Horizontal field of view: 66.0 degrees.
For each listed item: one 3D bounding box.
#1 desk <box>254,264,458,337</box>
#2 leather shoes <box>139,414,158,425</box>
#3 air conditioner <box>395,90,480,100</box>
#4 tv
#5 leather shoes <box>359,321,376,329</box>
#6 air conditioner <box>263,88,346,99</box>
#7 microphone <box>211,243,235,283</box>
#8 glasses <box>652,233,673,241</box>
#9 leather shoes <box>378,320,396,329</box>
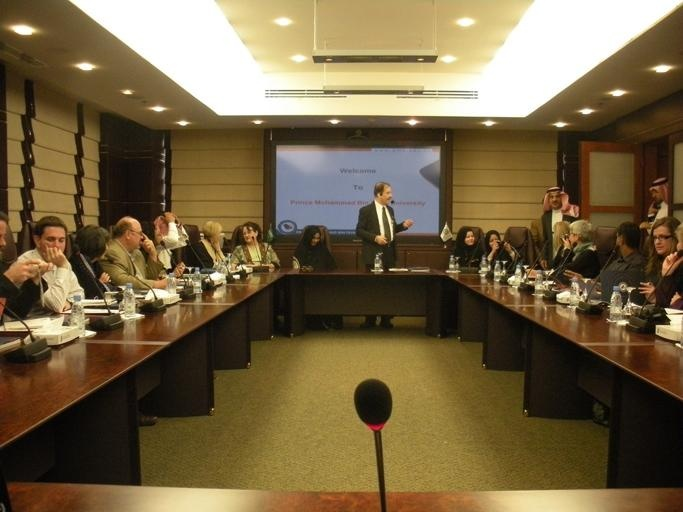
[{"bbox_3d":[0.284,0.505,5.596,1.698,0.611,0.611,0,-3,6],"label":"desk"},{"bbox_3d":[-1.162,0.985,3.175,0.121,0.050,0.044,0,0,-4],"label":"leather shoes"},{"bbox_3d":[1.345,-2.170,7.050,0.984,0.136,0.274,-1,7,-10],"label":"air conditioner"},{"bbox_3d":[0.343,-0.979,8.057,2.803,1.540,0.058,-3,7,-16],"label":"tv"},{"bbox_3d":[0.300,0.768,5.868,0.183,0.129,0.070,2,-3,-5],"label":"leather shoes"},{"bbox_3d":[-0.482,-2.175,7.036,1.039,0.138,0.299,2,7,12],"label":"air conditioner"},{"bbox_3d":[-1.175,0.124,5.248,0.208,0.259,0.698,0,3,-5],"label":"microphone"},{"bbox_3d":[2.159,-0.129,3.544,0.063,0.032,0.121,-5,9,-41],"label":"glasses"},{"bbox_3d":[0.523,0.765,5.881,0.188,0.134,0.067,-2,1,3],"label":"leather shoes"}]
